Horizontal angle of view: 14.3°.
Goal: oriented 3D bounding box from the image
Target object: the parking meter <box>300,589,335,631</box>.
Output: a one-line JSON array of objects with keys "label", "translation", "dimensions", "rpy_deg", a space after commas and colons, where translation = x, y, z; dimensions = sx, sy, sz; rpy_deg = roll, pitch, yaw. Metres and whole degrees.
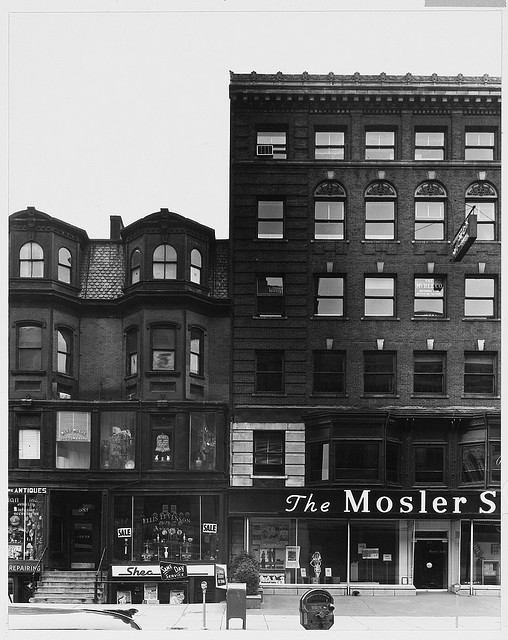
[{"label": "parking meter", "translation": [1.578, 7.145, 50.964], "dimensions": [0.787, 1.389, 0.887], "rpy_deg": [1, -2, 1]}]
